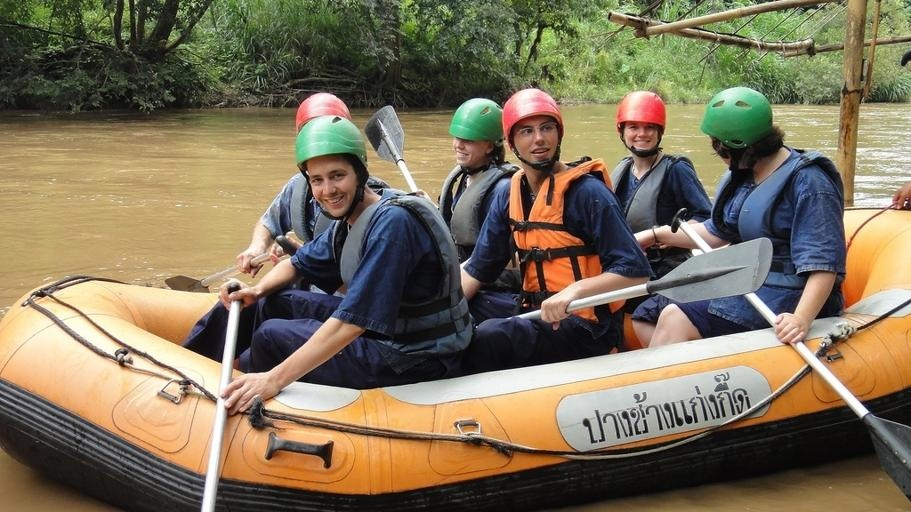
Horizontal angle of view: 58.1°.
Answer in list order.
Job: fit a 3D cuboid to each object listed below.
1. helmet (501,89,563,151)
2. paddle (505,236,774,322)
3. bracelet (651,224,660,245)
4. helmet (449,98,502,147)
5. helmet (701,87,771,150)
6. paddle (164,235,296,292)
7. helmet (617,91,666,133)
[{"bbox_3d":[0.572,-1.051,6.357,0.374,0.358,0.503,-9,-3,-2],"label":"helmet"},{"bbox_3d":[1.378,0.241,6.213,2.523,0.489,0.269,-11,-6,7],"label":"paddle"},{"bbox_3d":[1.674,-0.181,6.924,0.044,0.109,0.094,-6,-9,17],"label":"bracelet"},{"bbox_3d":[0.225,-1.121,7.086,0.465,0.287,0.344,-28,43,-30],"label":"helmet"},{"bbox_3d":[2.190,-1.096,6.437,0.594,0.408,0.421,0,32,31],"label":"helmet"},{"bbox_3d":[-2.116,0.097,7.649,0.884,0.261,0.145,-29,42,31],"label":"paddle"},{"bbox_3d":[1.661,-1.305,7.337,0.481,0.301,0.652,5,0,12],"label":"helmet"}]
